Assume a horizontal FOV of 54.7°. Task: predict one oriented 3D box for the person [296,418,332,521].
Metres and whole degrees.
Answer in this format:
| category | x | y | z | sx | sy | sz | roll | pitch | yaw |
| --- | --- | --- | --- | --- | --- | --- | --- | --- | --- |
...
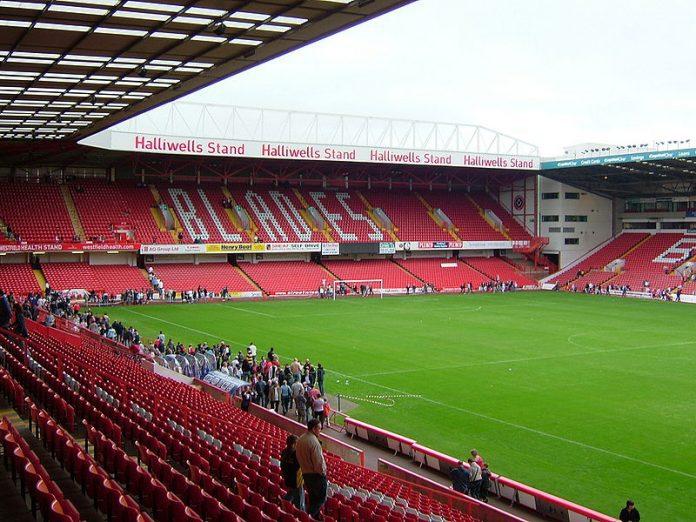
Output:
| category | x | y | z | sx | sy | sz | roll | pitch | yaw |
| --- | --- | --- | --- | --- | --- | --- | --- | --- | --- |
| person | -0.598 | 3.494 | 11.194 | 0.513 | 1.734 | 0.344 | -2 | 5 | 18 |
